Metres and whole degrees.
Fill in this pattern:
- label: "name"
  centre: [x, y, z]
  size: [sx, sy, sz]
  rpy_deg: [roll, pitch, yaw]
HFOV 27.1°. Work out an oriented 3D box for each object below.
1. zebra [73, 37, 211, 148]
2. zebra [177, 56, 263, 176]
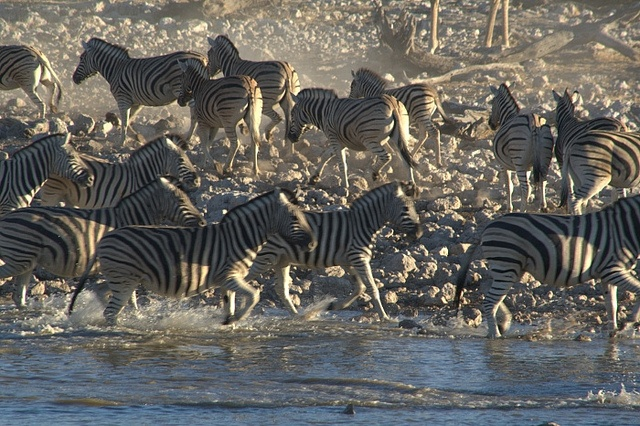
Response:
- label: "zebra"
  centre: [-3.935, -2.729, 29.861]
  size: [3.516, 2.342, 1.008]
  rpy_deg: [3, 8, 19]
- label: "zebra"
  centre: [-2.162, -2.114, 28.643]
  size: [1.690, 2.512, 0.866]
  rpy_deg: [0, -7, 19]
